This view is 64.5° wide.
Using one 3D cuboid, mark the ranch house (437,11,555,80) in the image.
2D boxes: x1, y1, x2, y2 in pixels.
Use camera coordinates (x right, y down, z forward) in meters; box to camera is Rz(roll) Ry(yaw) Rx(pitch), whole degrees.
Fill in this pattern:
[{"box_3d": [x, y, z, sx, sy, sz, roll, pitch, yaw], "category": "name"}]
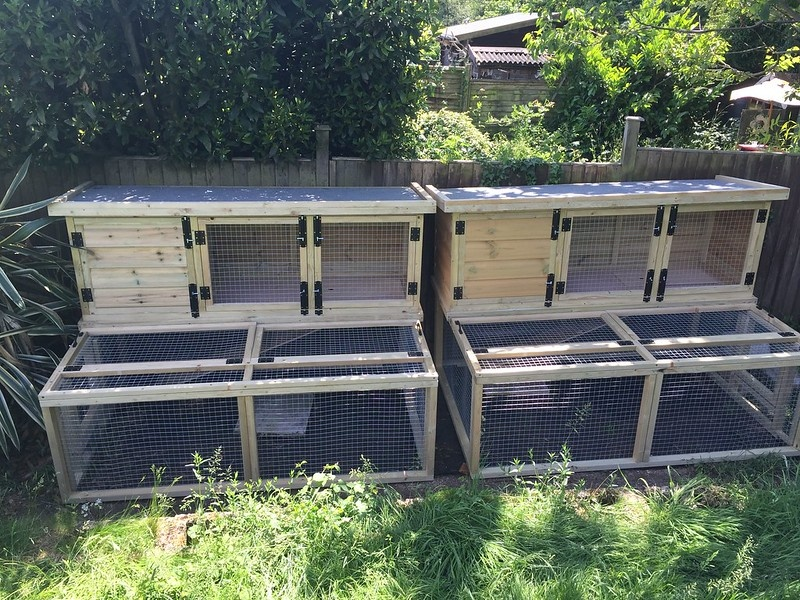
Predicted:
[{"box_3d": [2.191, -6.222, 15.286, 2.225, 1.643, 4.634, 2, 20, 9], "category": "ranch house"}]
